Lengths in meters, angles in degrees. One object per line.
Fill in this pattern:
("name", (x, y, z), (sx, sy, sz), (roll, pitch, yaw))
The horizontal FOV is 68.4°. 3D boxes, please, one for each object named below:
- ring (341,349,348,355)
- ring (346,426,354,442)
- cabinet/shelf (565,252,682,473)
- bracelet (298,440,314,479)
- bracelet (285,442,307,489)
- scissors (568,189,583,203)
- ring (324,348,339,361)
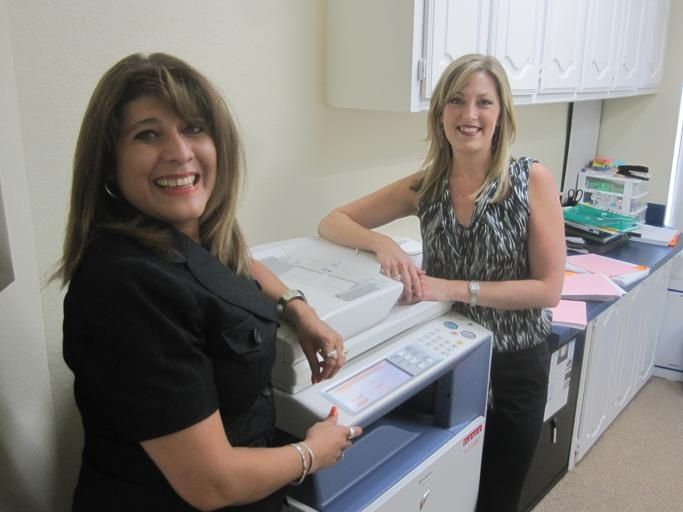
("ring", (0.007, 0.232, 1.221), (0.011, 0.011, 0.012), (6, -5, -26))
("ring", (0.013, 0.402, 1.137), (0.024, 0.030, 0.033), (0, -3, -5))
("cabinet/shelf", (1.412, 0.539, 2.540), (0.300, 0.705, 0.791), (16, 34, 37))
("bracelet", (-0.068, 0.419, 1.039), (0.050, 0.063, 0.026), (2, -2, 13))
("bracelet", (-0.083, 0.441, 1.071), (0.031, 0.079, 0.065), (0, 1, -39))
("scissors", (1.562, -0.409, 3.371), (0.058, 0.111, 0.088), (-7, 14, -34))
("ring", (-0.023, 0.231, 1.177), (0.029, 0.021, 0.031), (5, -17, 2))
